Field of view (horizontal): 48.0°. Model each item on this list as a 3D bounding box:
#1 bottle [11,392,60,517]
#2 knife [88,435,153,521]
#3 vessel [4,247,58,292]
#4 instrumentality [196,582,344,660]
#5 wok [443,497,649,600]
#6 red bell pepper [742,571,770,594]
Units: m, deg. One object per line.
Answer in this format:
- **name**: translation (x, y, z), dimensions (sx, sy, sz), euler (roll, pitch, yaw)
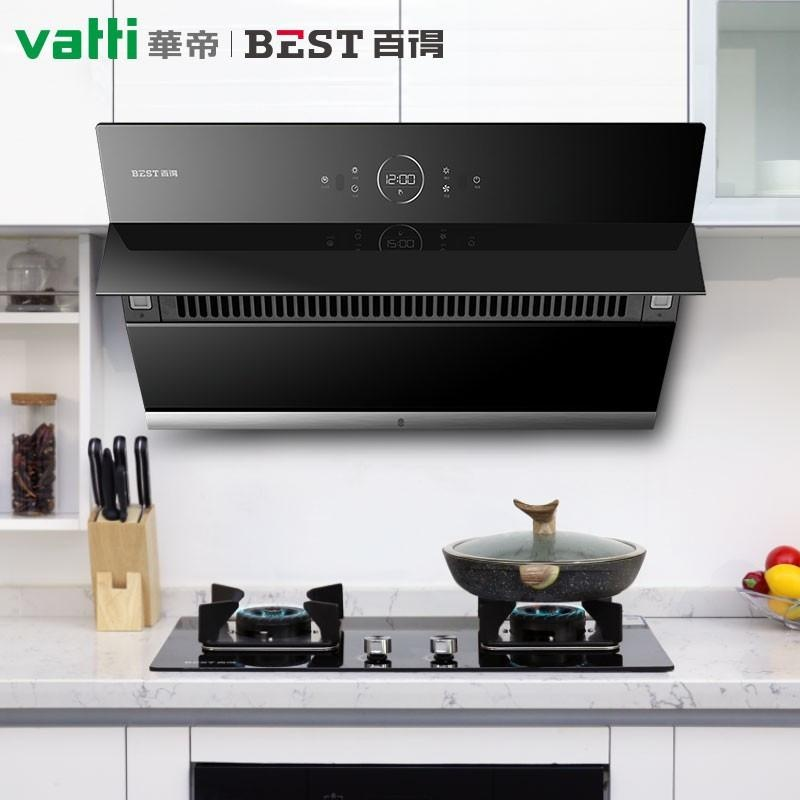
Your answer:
- **bottle**: translation (-0.771, 0.118, 1.913), dimensions (0.102, 0.251, 0.096), euler (0, -2, 0)
- **knife**: translation (-0.568, 0.149, 1.809), dimensions (0.114, 0.167, 0.150), euler (-4, 8, -26)
- **vessel**: translation (-0.758, -0.265, 1.863), dimensions (0.102, 0.087, 0.094), euler (3, 4, 32)
- **instrumentality**: translation (-0.257, 0.422, 1.691), dimensions (0.299, 0.090, 0.287), euler (1, -10, 4)
- **wok**: translation (0.252, 0.269, 1.602), dimensions (0.355, 0.166, 0.175), euler (0, 7, 4)
- **red bell pepper**: translation (0.710, 0.370, 1.810), dimensions (0.046, 0.041, 0.059), euler (-8, -10, 29)
